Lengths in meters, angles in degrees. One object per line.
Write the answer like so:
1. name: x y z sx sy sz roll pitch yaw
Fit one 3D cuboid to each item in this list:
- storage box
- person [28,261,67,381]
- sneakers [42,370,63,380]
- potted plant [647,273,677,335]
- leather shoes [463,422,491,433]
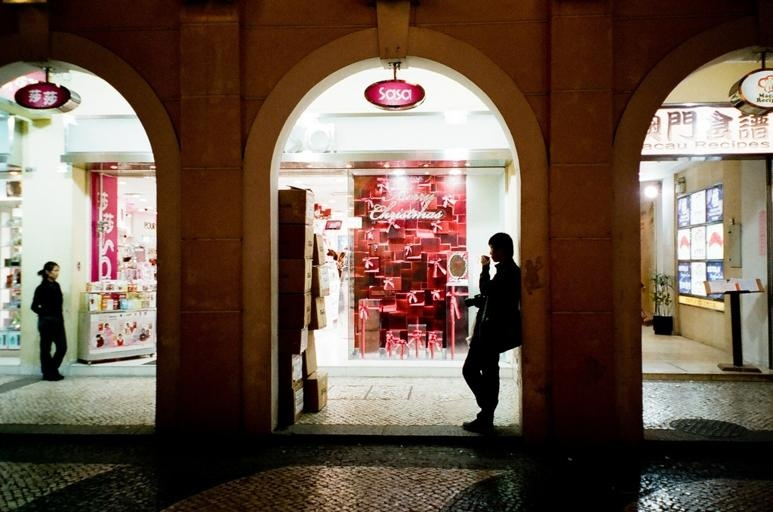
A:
1. storage box: -1.203 0.661 9.491 0.677 3.175 1.305 -1 14 -1
2. person: -5.759 1.104 11.451 0.477 1.936 0.712 -8 16 -24
3. sneakers: -5.703 2.028 11.440 0.319 0.158 0.238 -6 16 -20
4. potted plant: 6.398 1.011 15.528 0.455 1.182 1.454 3 15 17
5. leather shoes: 1.209 2.267 9.017 0.379 0.144 0.137 2 -5 11
